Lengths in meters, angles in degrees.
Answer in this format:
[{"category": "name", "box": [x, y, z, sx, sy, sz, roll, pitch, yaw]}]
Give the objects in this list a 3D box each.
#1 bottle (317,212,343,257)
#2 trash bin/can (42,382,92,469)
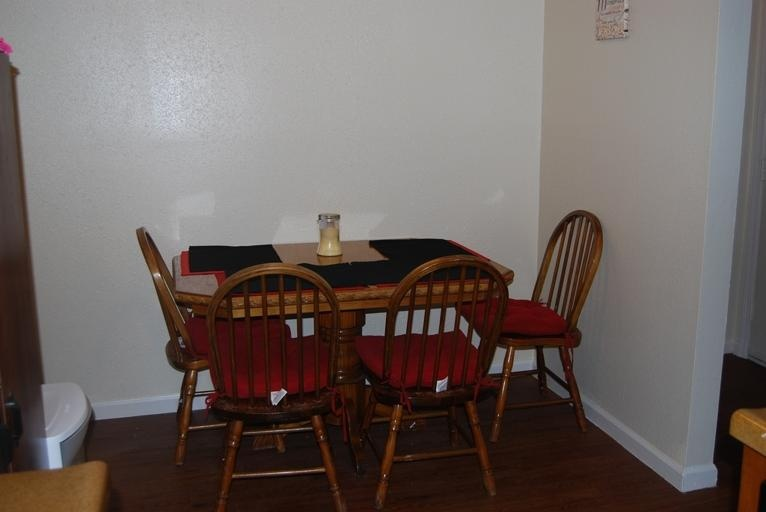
[{"category": "bottle", "box": [-0.290, -0.115, 3.158, 0.196, 0.271, 0.201, 1, 5, 0]}, {"category": "trash bin/can", "box": [-1.485, 0.783, 2.736, 0.189, 0.184, 0.505, -10, 20, -27]}]
